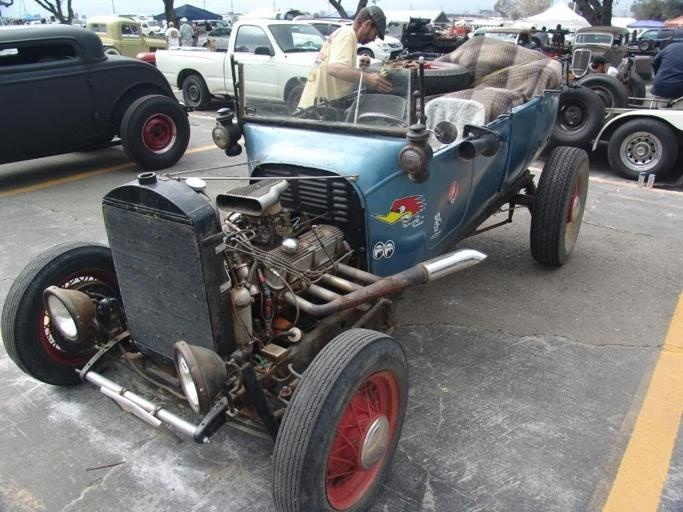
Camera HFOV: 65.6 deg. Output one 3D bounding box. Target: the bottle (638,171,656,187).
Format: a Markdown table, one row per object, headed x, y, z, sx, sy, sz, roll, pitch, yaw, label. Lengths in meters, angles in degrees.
| x | y | z | sx | sy | sz | roll | pitch | yaw | label |
| --- | --- | --- | --- | --- | --- | --- | --- | --- | --- |
| 4.389 | -1.110 | 7.618 | 0.090 | 0.218 | 0.238 | 4 | 0 | -16 | bottle |

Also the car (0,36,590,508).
| x | y | z | sx | sy | sz | roll | pitch | yaw | label |
| --- | --- | --- | --- | --- | --- | --- | --- | --- | --- |
| 0.377 | -0.208 | 4.932 | 2.696 | 2.431 | 5.267 | 17 | 36 | 34 | car |
